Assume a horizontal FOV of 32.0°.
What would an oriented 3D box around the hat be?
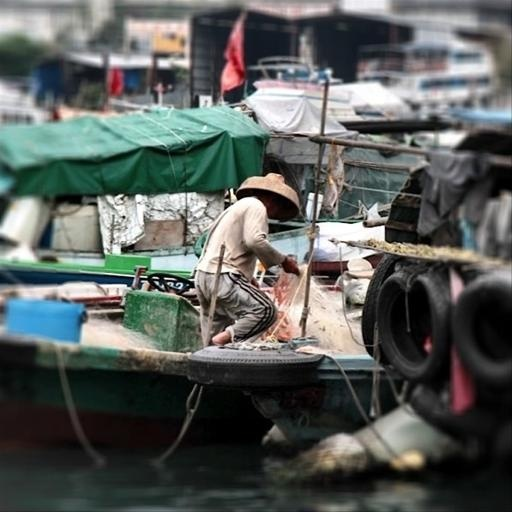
[{"bbox_3d":[0.173,-0.419,5.787,0.401,0.153,0.395,-2,-11,15],"label":"hat"}]
